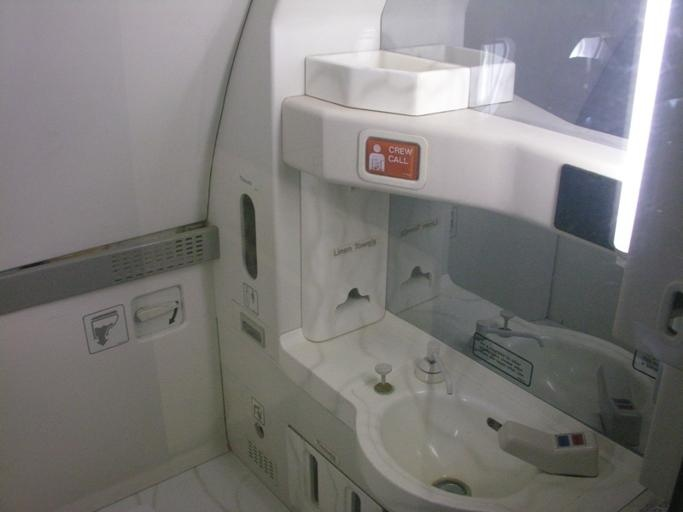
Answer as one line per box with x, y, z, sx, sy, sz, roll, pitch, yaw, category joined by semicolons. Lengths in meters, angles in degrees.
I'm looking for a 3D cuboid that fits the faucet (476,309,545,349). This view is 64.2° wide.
0.655;0.276;2.088;0.221;0.115;0.051;24;46;37;faucet
